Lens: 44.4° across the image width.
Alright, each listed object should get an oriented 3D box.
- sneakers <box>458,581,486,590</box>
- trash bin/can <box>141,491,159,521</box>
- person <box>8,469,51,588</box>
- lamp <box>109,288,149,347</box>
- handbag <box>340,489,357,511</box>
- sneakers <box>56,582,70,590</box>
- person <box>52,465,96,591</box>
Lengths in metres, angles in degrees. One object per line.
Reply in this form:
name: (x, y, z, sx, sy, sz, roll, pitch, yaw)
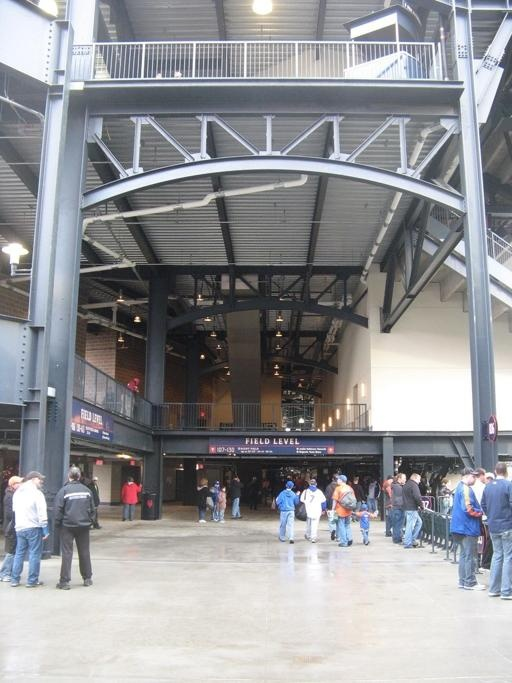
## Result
sneakers: (2.821, 3.239, 8.246, 0.383, 0.158, 0.133, -3, -22, 17)
trash bin/can: (-4.024, 6.377, 24.224, 0.697, 1.030, 0.598, 4, -12, -18)
person: (-2.977, 2.480, 8.254, 0.450, 1.470, 0.562, 4, -12, -20)
lamp: (-7.025, -1.618, 34.105, 2.298, 0.853, 3.655, -2, -21, -3)
handbag: (2.092, 3.609, 14.191, 0.342, 0.494, 0.193, -12, -11, 4)
sneakers: (-2.451, 3.121, 7.977, 0.169, 0.073, 0.183, 3, -12, -14)
person: (-2.422, 2.477, 8.428, 0.511, 1.559, 0.834, 3, -12, -15)
